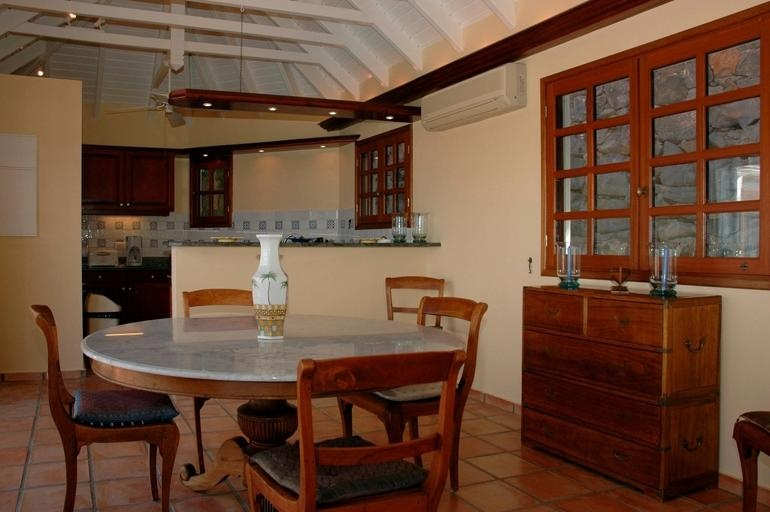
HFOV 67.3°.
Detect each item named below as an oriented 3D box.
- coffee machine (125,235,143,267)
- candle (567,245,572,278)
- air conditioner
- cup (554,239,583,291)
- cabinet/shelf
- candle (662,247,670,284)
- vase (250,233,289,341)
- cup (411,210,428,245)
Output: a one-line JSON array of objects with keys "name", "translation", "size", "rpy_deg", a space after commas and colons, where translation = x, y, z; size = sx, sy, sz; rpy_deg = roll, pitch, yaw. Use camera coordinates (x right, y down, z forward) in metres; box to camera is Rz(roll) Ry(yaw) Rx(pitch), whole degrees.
[{"name": "coffee machine", "translation": [-3.491, -0.091, 8.075], "size": [0.217, 0.400, 0.674], "rpy_deg": [-2, 3, -23]}, {"name": "candle", "translation": [1.313, 0.039, 4.125], "size": [0.040, 0.225, 0.035], "rpy_deg": [-2, 3, -29]}, {"name": "air conditioner", "translation": [0.786, -1.471, 5.337], "size": [0.259, 0.432, 1.125], "rpy_deg": [-3, 3, -35]}, {"name": "cup", "translation": [1.305, 0.068, 4.220], "size": [0.232, 0.311, 0.198], "rpy_deg": [-10, 1, -42]}, {"name": "cabinet/shelf", "translation": [1.661, 0.875, 4.184], "size": [0.844, 1.157, 1.301], "rpy_deg": [5, -3, -37]}, {"name": "candle", "translation": [1.778, 0.065, 3.670], "size": [0.048, 0.232, 0.042], "rpy_deg": [0, 3, 23]}, {"name": "vase", "translation": [-0.652, 0.166, 3.253], "size": [0.181, 0.576, 0.240], "rpy_deg": [-1, 3, -13]}, {"name": "cup", "translation": [0.367, -0.296, 6.097], "size": [0.168, 0.324, 0.210], "rpy_deg": [-1, 3, 2]}]
